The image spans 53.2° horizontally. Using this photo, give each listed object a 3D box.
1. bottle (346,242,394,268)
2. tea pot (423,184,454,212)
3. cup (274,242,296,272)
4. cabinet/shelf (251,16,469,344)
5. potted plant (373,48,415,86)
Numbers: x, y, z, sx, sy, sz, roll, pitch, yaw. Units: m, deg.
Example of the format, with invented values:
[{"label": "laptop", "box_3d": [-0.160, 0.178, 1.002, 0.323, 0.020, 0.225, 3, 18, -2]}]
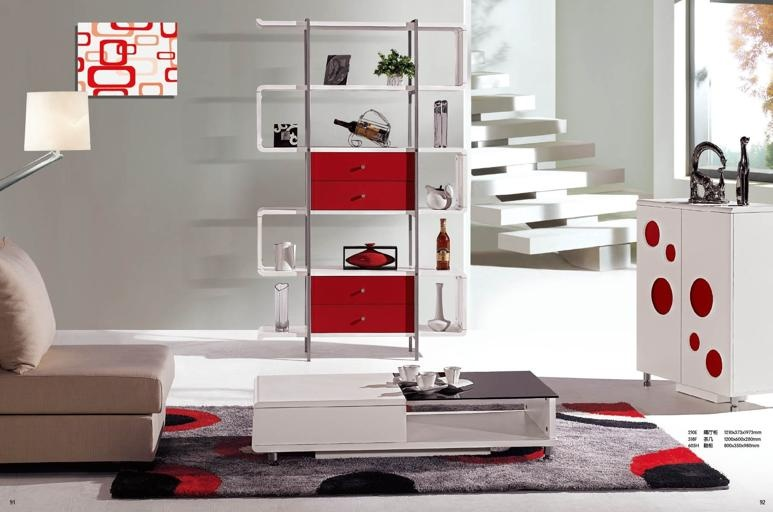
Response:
[{"label": "bottle", "box_3d": [-0.107, 0.024, 5.968, 0.356, 0.170, 0.185, 0, 6, 0]}, {"label": "tea pot", "box_3d": [0.425, -0.444, 6.063, 0.177, 0.171, 0.228, -3, 11, -28]}, {"label": "cup", "box_3d": [-0.743, 0.009, 6.052, 0.214, 0.209, 0.163, -1, -1, 24]}, {"label": "cabinet/shelf", "box_3d": [-0.180, -0.577, 6.135, 1.683, 2.534, 1.088, 0, 11, 2]}, {"label": "potted plant", "box_3d": [0.123, -1.470, 6.119, 0.368, 0.247, 0.359, 7, 14, 24]}]
